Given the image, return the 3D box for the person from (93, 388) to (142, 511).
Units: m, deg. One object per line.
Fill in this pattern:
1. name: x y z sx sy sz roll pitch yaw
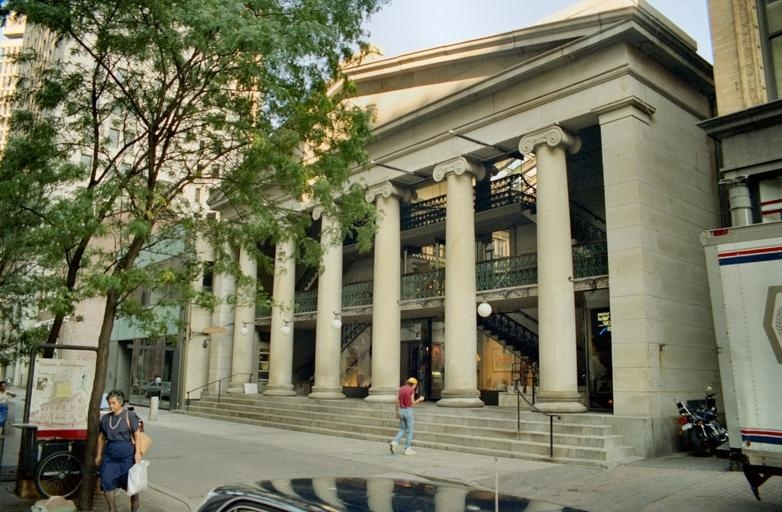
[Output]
1. person: -5.573 3.969 12.908 0.910 2.355 0.790 6 -18 -17

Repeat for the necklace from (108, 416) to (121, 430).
1. necklace: -5.623 3.395 12.786 0.152 0.235 0.061 4 -22 -4

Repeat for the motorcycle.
1. motorcycle: 9.471 4.882 18.996 2.731 1.823 1.194 2 -19 -42
